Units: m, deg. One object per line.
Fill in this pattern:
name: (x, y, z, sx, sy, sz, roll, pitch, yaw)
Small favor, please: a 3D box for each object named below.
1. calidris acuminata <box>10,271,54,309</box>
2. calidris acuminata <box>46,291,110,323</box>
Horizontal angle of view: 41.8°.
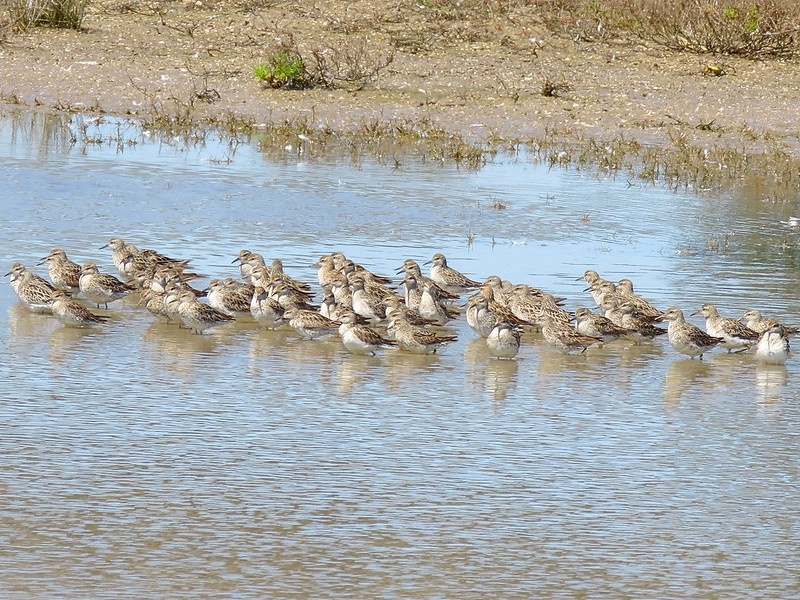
calidris acuminata: (-4.864, -0.093, 13.999, 0.467, 0.552, 0.873, -9, 21, -24)
calidris acuminata: (-4.153, 0.135, 13.567, 0.668, 0.472, 0.538, -3, 21, -12)
